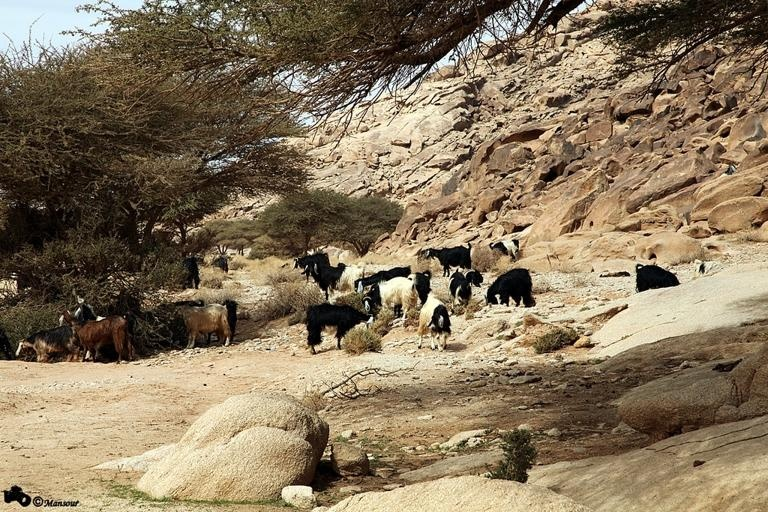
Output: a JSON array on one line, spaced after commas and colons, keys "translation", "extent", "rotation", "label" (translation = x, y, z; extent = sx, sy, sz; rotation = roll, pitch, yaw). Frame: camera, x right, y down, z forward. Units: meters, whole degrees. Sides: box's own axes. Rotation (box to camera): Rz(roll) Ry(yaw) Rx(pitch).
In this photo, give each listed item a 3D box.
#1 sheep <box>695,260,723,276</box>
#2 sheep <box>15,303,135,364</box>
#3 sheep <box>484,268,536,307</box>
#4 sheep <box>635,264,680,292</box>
[{"translation": [8.889, 0.350, 24.110], "extent": [0.563, 0.322, 0.705], "rotation": [0, 1, -22], "label": "sheep"}, {"translation": [-8.475, 2.189, 23.864], "extent": [3.421, 1.704, 0.725], "rotation": [-8, -20, 2], "label": "sheep"}, {"translation": [3.472, 0.910, 23.956], "extent": [1.266, 0.930, 0.611], "rotation": [-8, -3, 30], "label": "sheep"}, {"translation": [6.901, 0.531, 22.222], "extent": [0.979, 0.677, 1.344], "rotation": [-7, -3, 7], "label": "sheep"}]
